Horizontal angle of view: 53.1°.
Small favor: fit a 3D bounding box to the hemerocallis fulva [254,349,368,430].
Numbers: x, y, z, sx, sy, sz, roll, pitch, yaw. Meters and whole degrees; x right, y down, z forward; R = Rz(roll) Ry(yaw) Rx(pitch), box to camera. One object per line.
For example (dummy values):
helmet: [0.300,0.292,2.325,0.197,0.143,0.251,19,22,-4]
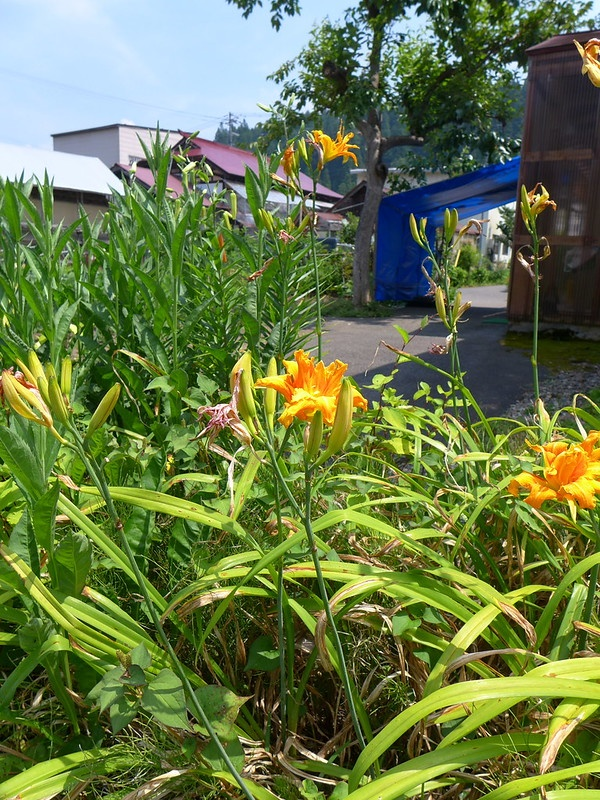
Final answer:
hemerocallis fulva: [0.002,-0.005,0.716,0.084,0.095,0.142,6,11,10]
